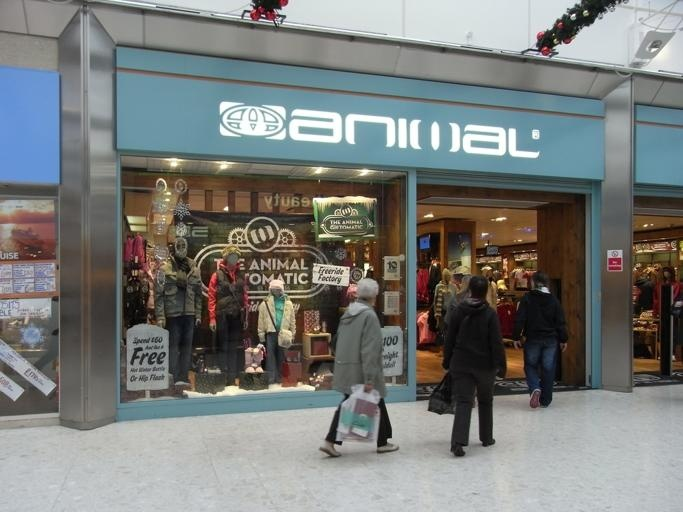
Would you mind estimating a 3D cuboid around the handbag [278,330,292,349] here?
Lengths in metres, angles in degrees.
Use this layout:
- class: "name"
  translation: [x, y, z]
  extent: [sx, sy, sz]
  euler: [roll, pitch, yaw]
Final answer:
- class: "handbag"
  translation: [-0.777, 1.130, 8.064]
  extent: [0.237, 0.277, 0.142]
  euler: [3, 4, -19]

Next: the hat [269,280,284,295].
- class: "hat"
  translation: [-0.875, 0.422, 8.045]
  extent: [0.188, 0.192, 0.156]
  euler: [4, 8, -24]

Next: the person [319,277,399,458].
- class: "person"
  translation: [0.176, 1.157, 6.173]
  extent: [0.803, 1.824, 0.466]
  euler: [1, 3, 4]

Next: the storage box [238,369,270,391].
- class: "storage box"
  translation: [-1.155, 1.622, 7.895]
  extent: [0.265, 0.202, 0.258]
  euler: [5, -8, -40]

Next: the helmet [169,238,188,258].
- class: "helmet"
  translation: [-2.072, -0.108, 7.669]
  extent: [0.197, 0.253, 0.251]
  euler: [3, 4, -16]

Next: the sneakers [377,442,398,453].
- class: "sneakers"
  translation: [0.481, 2.025, 6.340]
  extent: [0.229, 0.092, 0.095]
  euler: [-3, 3, -24]

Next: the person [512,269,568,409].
- class: "person"
  translation: [2.724, 1.140, 8.249]
  extent: [0.693, 1.805, 0.646]
  euler: [1, 3, 17]

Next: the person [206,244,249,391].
- class: "person"
  translation: [-1.477, 0.779, 7.830]
  extent: [0.491, 1.785, 0.162]
  euler: [0, 3, -12]

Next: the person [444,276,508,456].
- class: "person"
  translation: [1.400, 1.260, 6.321]
  extent: [0.603, 1.606, 0.383]
  euler: [0, 3, -11]

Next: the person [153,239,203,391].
- class: "person"
  translation: [-2.068, 0.773, 7.635]
  extent: [0.554, 1.956, 0.191]
  euler: [0, 3, -16]

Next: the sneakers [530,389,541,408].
- class: "sneakers"
  translation: [2.614, 1.917, 8.073]
  extent: [0.135, 0.267, 0.112]
  euler: [2, 2, 1]

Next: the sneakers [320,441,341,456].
- class: "sneakers"
  translation: [-0.117, 1.985, 6.158]
  extent: [0.196, 0.134, 0.069]
  euler: [32, 4, -17]

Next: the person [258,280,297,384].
- class: "person"
  translation: [-0.870, 1.010, 8.019]
  extent: [0.475, 1.361, 0.162]
  euler: [0, 3, -10]

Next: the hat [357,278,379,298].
- class: "hat"
  translation: [0.277, 0.328, 6.292]
  extent: [0.168, 0.218, 0.217]
  euler: [1, 15, 4]
